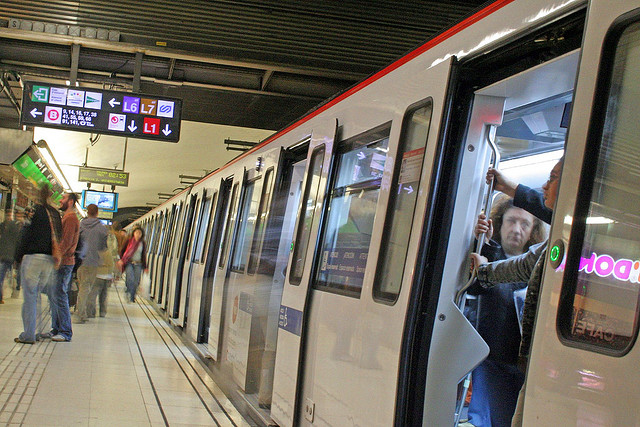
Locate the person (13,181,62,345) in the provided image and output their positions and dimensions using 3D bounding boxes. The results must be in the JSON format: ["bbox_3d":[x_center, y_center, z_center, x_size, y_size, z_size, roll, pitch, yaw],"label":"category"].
[{"bbox_3d":[-5.037,0.789,8.076,0.646,2.250,0.597,11,-7,-36],"label":"person"}]

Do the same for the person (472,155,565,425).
[{"bbox_3d":[1.165,0.430,2.817,0.447,1.475,1.507,4,-7,20],"label":"person"}]

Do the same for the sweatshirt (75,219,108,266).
[{"bbox_3d":[-5.140,0.637,10.153,0.775,0.843,0.459,18,18,4],"label":"sweatshirt"}]
